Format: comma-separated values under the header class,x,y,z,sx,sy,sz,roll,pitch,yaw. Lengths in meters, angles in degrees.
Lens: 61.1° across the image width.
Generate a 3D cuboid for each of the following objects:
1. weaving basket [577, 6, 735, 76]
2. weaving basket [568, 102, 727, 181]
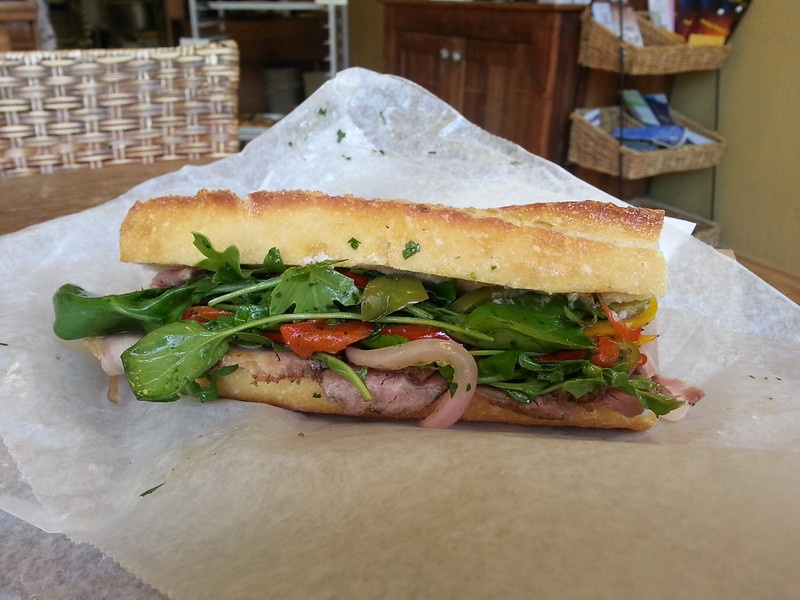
class,x,y,z,sx,sy,sz,roll,pitch,yaw
weaving basket,1.539,-1.516,4.090,0.836,0.239,0.515,-11,21,-39
weaving basket,1.634,-0.986,4.326,0.967,0.257,0.638,-13,27,-24
